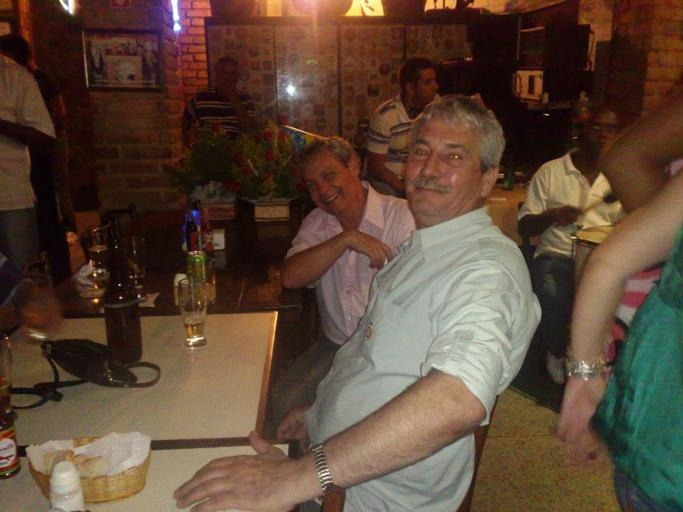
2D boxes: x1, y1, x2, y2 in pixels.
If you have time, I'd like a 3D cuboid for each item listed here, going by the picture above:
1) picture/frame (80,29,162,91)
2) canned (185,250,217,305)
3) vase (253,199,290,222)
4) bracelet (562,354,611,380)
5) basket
[{"bbox_3d":[-1.909,-1.697,4.552,0.549,0.395,0.076,0,11,-4],"label":"picture/frame"},{"bbox_3d":[-0.648,0.105,2.404,0.182,0.220,0.178,-10,8,-32],"label":"canned"},{"bbox_3d":[-0.502,-0.335,3.761,0.187,0.108,0.183,0,13,2],"label":"vase"},{"bbox_3d":[0.642,0.287,1.383,0.076,0.051,0.061,-3,3,16],"label":"bracelet"},{"bbox_3d":[-0.629,0.513,1.317,0.217,0.078,0.172,1,9,12],"label":"basket"}]
